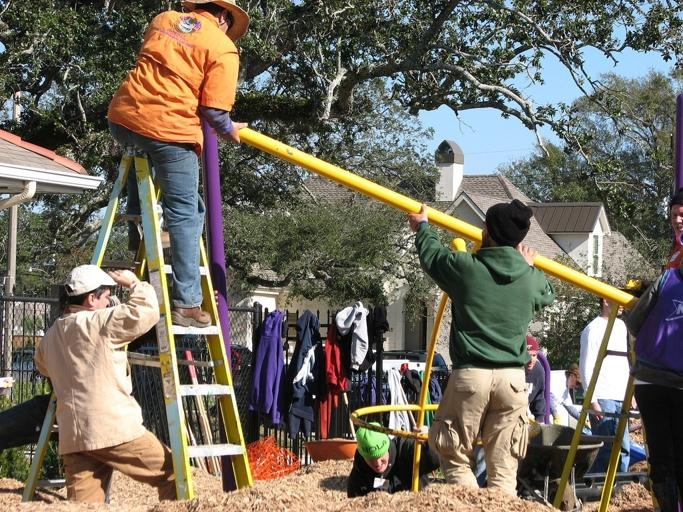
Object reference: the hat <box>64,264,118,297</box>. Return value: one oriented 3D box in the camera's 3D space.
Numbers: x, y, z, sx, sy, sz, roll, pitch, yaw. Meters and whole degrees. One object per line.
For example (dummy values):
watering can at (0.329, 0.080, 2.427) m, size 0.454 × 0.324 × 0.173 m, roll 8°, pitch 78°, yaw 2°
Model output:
hat at (-2.135, 0.177, 7.885) m, size 0.318 × 0.204 × 0.252 m, roll -6°, pitch 11°, yaw -23°

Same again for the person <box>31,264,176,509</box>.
person at (-2.017, 1.083, 7.921) m, size 1.133 × 2.017 × 0.498 m, roll 2°, pitch -2°, yaw 14°

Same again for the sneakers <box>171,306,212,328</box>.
sneakers at (-1.294, 0.514, 8.006) m, size 0.298 × 0.255 × 0.144 m, roll 1°, pitch 2°, yaw -21°

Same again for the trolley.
trolley at (2.124, 2.018, 9.090) m, size 0.608 × 0.658 × 0.922 m, roll -7°, pitch -16°, yaw 33°

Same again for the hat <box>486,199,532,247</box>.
hat at (1.397, -0.282, 7.750) m, size 0.398 × 0.457 × 0.300 m, roll 6°, pitch 2°, yaw 45°

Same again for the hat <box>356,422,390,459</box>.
hat at (0.299, 1.794, 9.161) m, size 0.276 × 0.348 × 0.415 m, roll -14°, pitch 20°, yaw 4°
